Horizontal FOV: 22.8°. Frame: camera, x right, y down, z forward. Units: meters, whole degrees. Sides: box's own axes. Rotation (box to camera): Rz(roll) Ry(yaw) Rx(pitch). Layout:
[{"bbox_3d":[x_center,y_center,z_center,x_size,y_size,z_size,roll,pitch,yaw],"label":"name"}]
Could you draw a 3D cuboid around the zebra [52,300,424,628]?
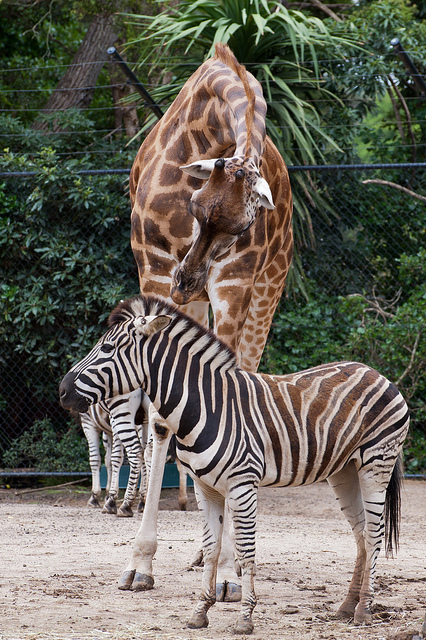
[{"bbox_3d":[0.330,0.674,5.090,1.385,1.512,1.910,14,14,22],"label":"zebra"}]
